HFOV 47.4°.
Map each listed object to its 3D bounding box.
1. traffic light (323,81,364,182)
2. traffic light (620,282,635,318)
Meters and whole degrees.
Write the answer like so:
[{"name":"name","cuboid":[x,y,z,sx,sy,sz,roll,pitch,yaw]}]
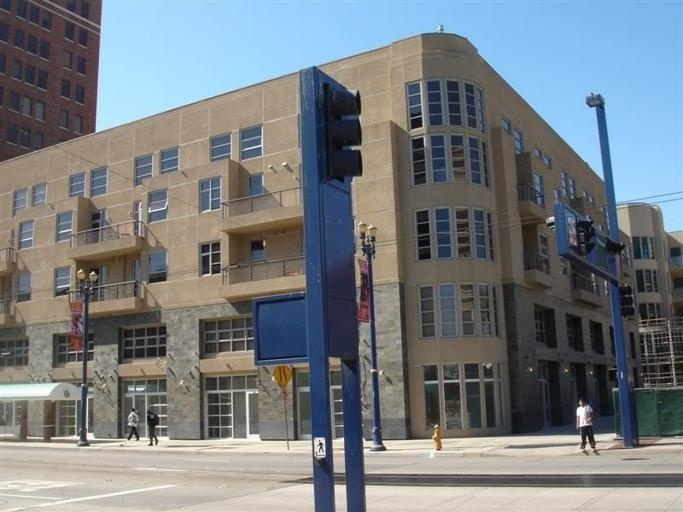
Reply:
[{"name":"traffic light","cuboid":[0.026,-2.629,16.296,0.768,1.865,0.605,-3,-17,-2]},{"name":"traffic light","cuboid":[12.238,1.977,33.061,0.483,1.294,1.360,-8,-11,42]}]
